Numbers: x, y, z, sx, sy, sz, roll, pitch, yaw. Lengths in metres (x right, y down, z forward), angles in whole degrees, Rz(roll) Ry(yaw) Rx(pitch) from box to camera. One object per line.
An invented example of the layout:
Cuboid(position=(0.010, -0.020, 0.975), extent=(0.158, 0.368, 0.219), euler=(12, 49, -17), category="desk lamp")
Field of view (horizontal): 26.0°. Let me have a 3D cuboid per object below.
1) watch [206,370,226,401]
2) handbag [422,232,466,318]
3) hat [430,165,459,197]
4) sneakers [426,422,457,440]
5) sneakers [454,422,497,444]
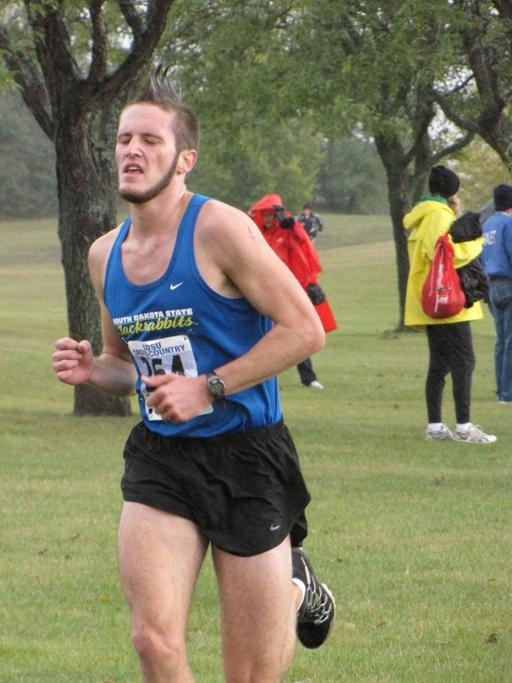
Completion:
Cuboid(position=(-0.103, 0.118, 2.892), extent=(0.045, 0.077, 0.024), euler=(-2, 3, -2), category="watch")
Cuboid(position=(0.820, -0.284, 4.838), extent=(0.191, 0.376, 0.131), euler=(-1, 3, 6), category="handbag")
Cuboid(position=(0.879, -0.725, 5.001), extent=(0.136, 0.115, 0.159), euler=(-10, 14, 14), category="hat")
Cuboid(position=(0.820, 0.404, 4.919), extent=(0.149, 0.052, 0.052), euler=(3, 5, 18), category="sneakers")
Cuboid(position=(0.960, 0.406, 4.881), extent=(0.222, 0.074, 0.070), euler=(4, 0, 15), category="sneakers")
